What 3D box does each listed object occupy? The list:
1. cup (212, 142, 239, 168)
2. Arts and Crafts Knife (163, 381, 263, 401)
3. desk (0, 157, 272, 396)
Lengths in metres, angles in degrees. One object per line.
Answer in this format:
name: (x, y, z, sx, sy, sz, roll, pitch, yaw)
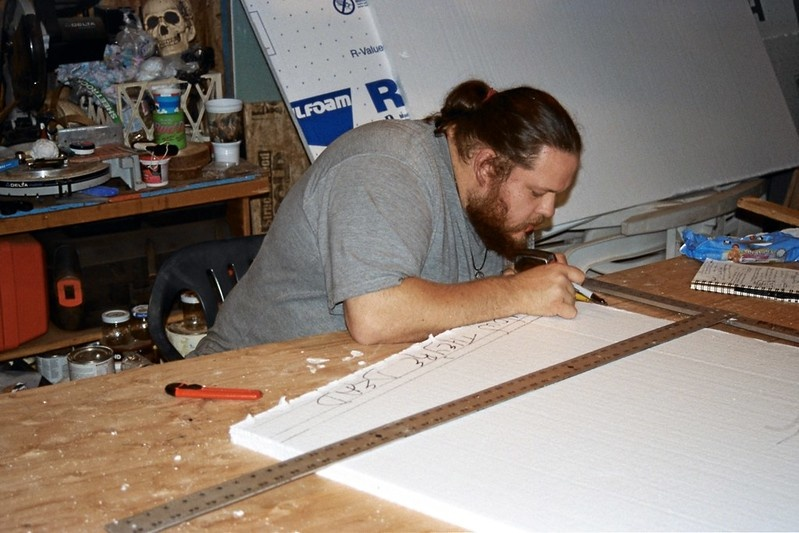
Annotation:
cup: (-0.829, -0.525, 2.889, 0.159, 0.105, 0.139, -5, 11, -26)
Arts and Crafts Knife: (-0.419, 0.281, 1.334, 0.277, 0.027, 0.061, 1, 11, -5)
desk: (-1.083, 0.037, 2.338, 1.308, 0.455, 0.335, -14, 38, -14)
